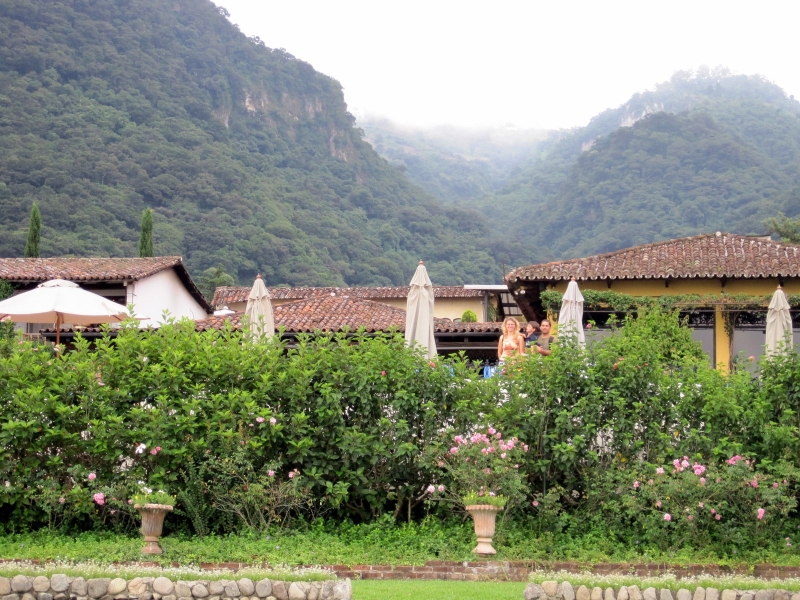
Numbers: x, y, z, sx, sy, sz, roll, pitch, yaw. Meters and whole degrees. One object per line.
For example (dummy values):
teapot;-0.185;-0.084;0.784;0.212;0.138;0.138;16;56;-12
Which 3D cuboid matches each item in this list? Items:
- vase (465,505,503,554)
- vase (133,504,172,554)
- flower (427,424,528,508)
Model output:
vase;1.043;2.806;11.295;0.517;0.554;0.482;2;-20;6
vase;-3.033;2.792;11.266;0.507;0.543;0.511;7;-20;-22
flower;1.152;2.168;11.855;1.068;1.016;1.082;5;-17;-39
